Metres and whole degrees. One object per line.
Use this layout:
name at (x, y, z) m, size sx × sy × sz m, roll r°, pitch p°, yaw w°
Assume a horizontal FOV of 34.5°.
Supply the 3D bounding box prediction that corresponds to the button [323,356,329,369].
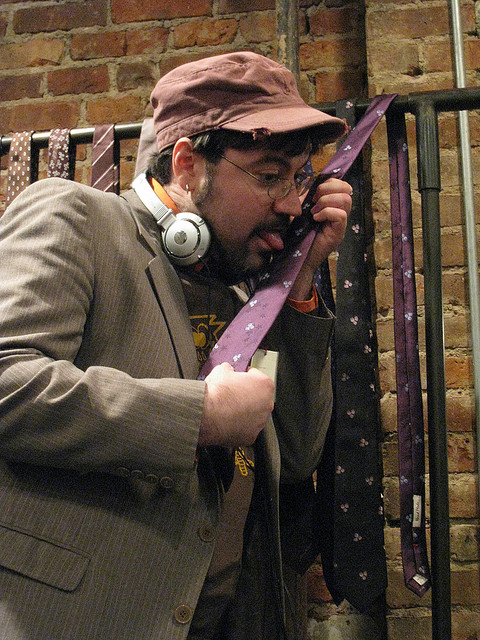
button at (0.160, 0.079, 1.452) m, size 0.004 × 0.016 × 0.016 m, roll 29°, pitch 84°, yaw 16°

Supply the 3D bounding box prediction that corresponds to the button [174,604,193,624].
button at (-0.076, 0.389, 1.022) m, size 0.023 × 0.006 × 0.024 m, roll 13°, pitch 75°, yaw 3°

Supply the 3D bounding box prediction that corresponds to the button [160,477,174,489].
button at (-0.097, 0.215, 1.024) m, size 0.018 × 0.018 × 0.011 m, roll 7°, pitch 74°, yaw 3°

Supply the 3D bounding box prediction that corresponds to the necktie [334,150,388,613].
necktie at (0.211, 0.110, 1.413) m, size 0.110 × 0.178 × 0.758 m, roll 4°, pitch 100°, yaw 14°

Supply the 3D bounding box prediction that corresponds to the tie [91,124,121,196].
tie at (-0.303, -0.355, 1.696) m, size 0.053 × 0.193 × 0.020 m, roll -11°, pitch 49°, yaw -21°

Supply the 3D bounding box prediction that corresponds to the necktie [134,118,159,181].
necktie at (-0.184, -0.341, 1.510) m, size 0.044 × 0.154 × 0.064 m, roll 3°, pitch 22°, yaw 9°

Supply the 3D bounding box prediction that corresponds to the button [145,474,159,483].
button at (-0.116, 0.209, 1.018) m, size 0.012 × 0.012 × 0.003 m, roll 33°, pitch 47°, yaw -27°

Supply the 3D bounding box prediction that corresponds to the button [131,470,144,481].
button at (-0.135, 0.204, 1.019) m, size 0.017 × 0.018 × 0.004 m, roll 3°, pitch 31°, yaw 4°

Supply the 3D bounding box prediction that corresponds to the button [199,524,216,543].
button at (-0.046, 0.299, 1.085) m, size 0.023 × 0.014 × 0.023 m, roll 42°, pitch 78°, yaw 11°

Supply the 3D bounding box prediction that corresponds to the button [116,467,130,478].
button at (-0.153, 0.198, 1.011) m, size 0.017 × 0.012 × 0.010 m, roll 3°, pitch 74°, yaw 1°

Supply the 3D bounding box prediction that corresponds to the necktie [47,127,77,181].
necktie at (-0.402, -0.371, 1.715) m, size 0.046 × 0.128 × 0.021 m, roll 0°, pitch 37°, yaw -16°
